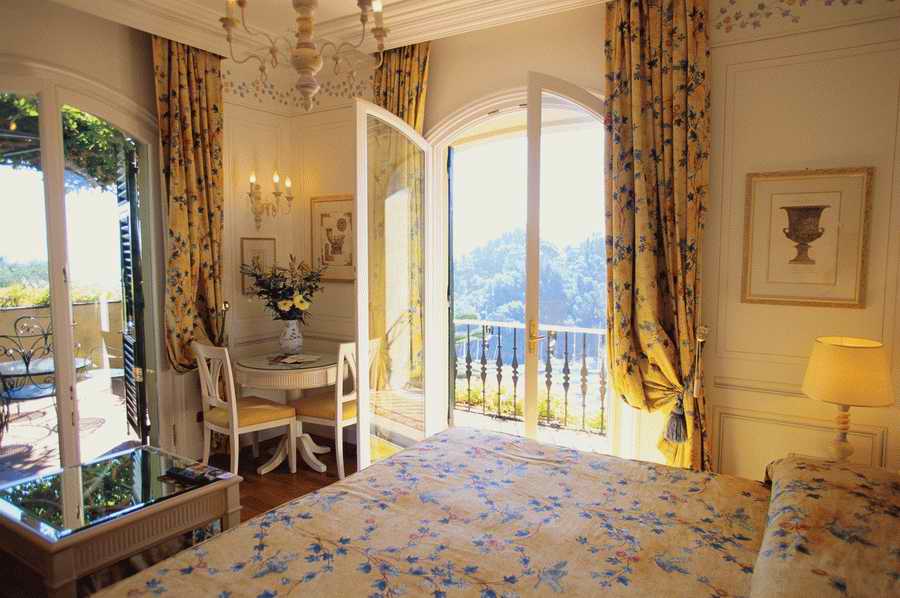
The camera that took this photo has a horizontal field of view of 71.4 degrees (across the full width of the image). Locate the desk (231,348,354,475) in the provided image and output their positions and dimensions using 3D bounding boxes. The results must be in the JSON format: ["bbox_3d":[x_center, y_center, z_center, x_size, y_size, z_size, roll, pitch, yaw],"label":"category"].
[{"bbox_3d":[-1.167,0.845,5.522,1.128,0.973,0.966,2,5,21],"label":"desk"}]

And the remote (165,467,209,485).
[{"bbox_3d":[-1.521,1.025,3.641,0.139,0.029,0.118,9,1,24],"label":"remote"}]

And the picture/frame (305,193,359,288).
[{"bbox_3d":[-1.049,-0.550,5.790,0.657,0.787,0.033,8,10,37],"label":"picture/frame"}]

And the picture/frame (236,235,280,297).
[{"bbox_3d":[-1.756,-0.288,5.644,0.056,0.780,0.571,-1,-1,31],"label":"picture/frame"}]

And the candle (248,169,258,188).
[{"bbox_3d":[-1.784,-1.086,5.635,0.079,0.157,0.190,-2,4,-18],"label":"candle"}]

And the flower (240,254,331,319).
[{"bbox_3d":[-1.461,-0.091,5.696,0.625,0.629,0.636,2,5,39],"label":"flower"}]

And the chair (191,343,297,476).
[{"bbox_3d":[-1.766,0.917,5.259,0.620,1.094,0.677,5,5,43],"label":"chair"}]
